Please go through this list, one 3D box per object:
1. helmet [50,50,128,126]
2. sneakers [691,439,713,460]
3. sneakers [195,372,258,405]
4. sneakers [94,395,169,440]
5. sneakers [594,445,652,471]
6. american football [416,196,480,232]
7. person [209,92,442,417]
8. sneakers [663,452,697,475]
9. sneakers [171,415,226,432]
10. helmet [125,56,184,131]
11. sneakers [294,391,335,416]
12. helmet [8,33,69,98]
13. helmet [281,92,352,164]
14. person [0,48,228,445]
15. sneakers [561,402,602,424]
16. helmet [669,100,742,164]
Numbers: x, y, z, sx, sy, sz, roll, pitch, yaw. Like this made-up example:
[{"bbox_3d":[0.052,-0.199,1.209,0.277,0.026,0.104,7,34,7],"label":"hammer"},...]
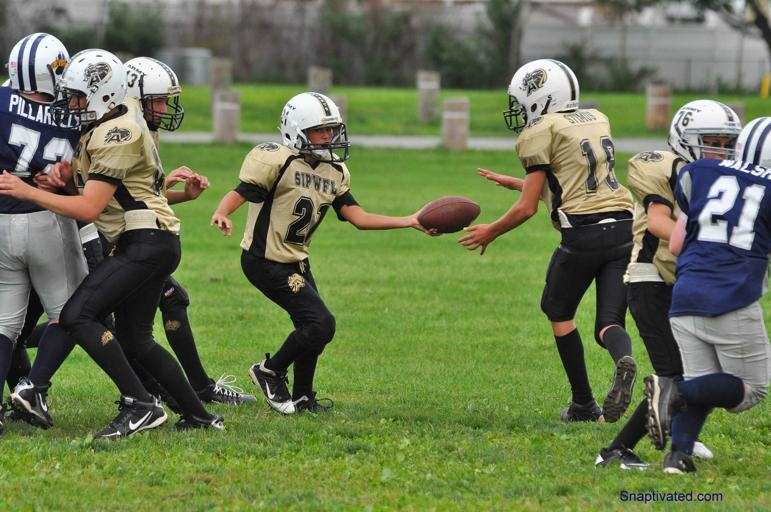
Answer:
[{"bbox_3d":[-2.186,-1.278,7.780,0.618,0.493,0.447,-10,20,-27],"label":"helmet"},{"bbox_3d":[2.247,1.390,7.518,0.184,0.116,0.100,2,7,27],"label":"sneakers"},{"bbox_3d":[-1.390,1.119,8.773,0.574,0.226,0.177,4,12,-22],"label":"sneakers"},{"bbox_3d":[-1.901,1.196,7.725,0.589,0.256,0.193,-19,4,-40],"label":"sneakers"},{"bbox_3d":[1.629,1.395,7.239,0.395,0.142,0.137,1,-2,7],"label":"sneakers"},{"bbox_3d":[0.498,-0.352,8.473,0.445,0.250,0.272,-13,35,-3],"label":"american football"},{"bbox_3d":[-0.728,-0.026,8.453,1.217,2.528,0.639,-1,13,-9],"label":"person"},{"bbox_3d":[2.010,1.420,7.192,0.123,0.097,0.228,3,0,31],"label":"sneakers"},{"bbox_3d":[-1.402,1.265,7.907,0.407,0.158,0.132,-4,1,-1],"label":"sneakers"},{"bbox_3d":[-1.890,-1.335,8.431,0.579,0.512,0.449,15,20,13],"label":"helmet"},{"bbox_3d":[-0.603,1.196,8.539,0.386,0.162,0.128,1,18,-5],"label":"sneakers"},{"bbox_3d":[-2.567,-1.466,7.976,0.544,0.498,0.416,-7,20,-18],"label":"helmet"},{"bbox_3d":[-0.593,-1.086,8.472,0.652,0.478,0.503,18,24,39],"label":"helmet"},{"bbox_3d":[-1.982,-0.078,7.713,1.214,2.812,0.809,-3,13,-16],"label":"person"},{"bbox_3d":[1.564,1.252,8.387,0.345,0.136,0.134,1,-26,4],"label":"sneakers"},{"bbox_3d":[2.393,-0.928,7.791,0.491,0.447,0.584,-8,16,-37],"label":"helmet"}]
